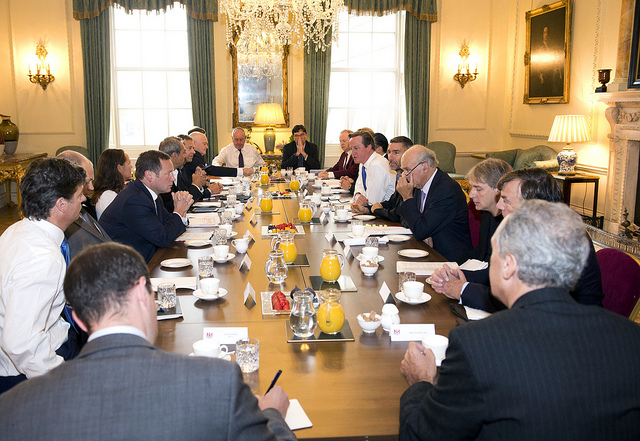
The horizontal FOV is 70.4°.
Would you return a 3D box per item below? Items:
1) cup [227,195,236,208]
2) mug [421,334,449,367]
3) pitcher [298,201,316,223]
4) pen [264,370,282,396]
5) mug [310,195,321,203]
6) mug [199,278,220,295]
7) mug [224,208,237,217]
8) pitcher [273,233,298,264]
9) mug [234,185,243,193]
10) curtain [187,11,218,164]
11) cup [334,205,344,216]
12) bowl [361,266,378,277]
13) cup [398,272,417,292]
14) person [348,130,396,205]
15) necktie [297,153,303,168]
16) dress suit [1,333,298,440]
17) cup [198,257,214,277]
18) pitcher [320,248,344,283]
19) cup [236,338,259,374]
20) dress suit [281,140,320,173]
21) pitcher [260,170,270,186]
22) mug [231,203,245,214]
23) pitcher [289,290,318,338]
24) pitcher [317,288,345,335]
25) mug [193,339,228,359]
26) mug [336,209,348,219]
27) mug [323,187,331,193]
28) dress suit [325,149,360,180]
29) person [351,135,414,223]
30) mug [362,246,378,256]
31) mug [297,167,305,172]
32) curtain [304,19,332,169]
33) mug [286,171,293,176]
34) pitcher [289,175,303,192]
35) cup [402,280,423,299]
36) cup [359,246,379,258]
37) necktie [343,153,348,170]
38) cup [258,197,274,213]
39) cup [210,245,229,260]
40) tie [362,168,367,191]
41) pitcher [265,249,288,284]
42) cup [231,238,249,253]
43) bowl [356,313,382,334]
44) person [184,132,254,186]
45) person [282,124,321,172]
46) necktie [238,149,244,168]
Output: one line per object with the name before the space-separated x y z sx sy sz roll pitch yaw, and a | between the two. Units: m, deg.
cup | -0.829 -0.190 4.314 0.093 0.120 0.099 0 3 0
mug | 0.469 0.509 1.857 0.109 0.104 0.130 0 13 0
pitcher | -0.121 -0.080 3.968 0.167 0.187 0.130 1 2 -5
pen | -0.173 0.595 1.666 0.026 0.100 0.013 28 5 -34
mug | -0.044 -0.230 4.730 0.076 0.062 0.076 -2 11 -3
mug | -0.576 0.338 2.355 0.092 0.085 0.087 -6 13 -14
mug | -0.816 -0.081 4.132 0.097 0.089 0.107 0 -2 -4
pitcher | -0.181 0.176 2.858 0.179 0.196 0.132 6 11 32
mug | -0.961 -0.373 5.340 0.078 0.069 0.083 0 0 -15
curtain | -2.066 -2.328 8.104 0.500 2.528 0.231 -5 12 -13
cup | 0.188 -0.102 4.403 0.096 0.082 0.102 0 1 0
bowl | 0.292 0.297 2.663 0.058 0.037 0.063 0 6 0
cup | 0.468 0.330 2.457 0.088 0.115 0.099 0 2 0
person | 0.584 -0.590 5.102 0.495 0.849 0.484 7 18 39
necktie | -0.326 -1.018 7.580 0.083 0.216 0.042 -3 12 -5
dress suit | -0.477 0.486 1.190 0.683 0.350 0.172 -3 12 1
cup | -0.663 0.265 2.610 0.083 0.108 0.095 0 -5 -8
pitcher | 0.078 0.250 2.551 0.149 0.188 0.098 -11 15 -33
cup | -0.301 0.537 1.823 0.106 0.136 0.131 0 -8 9
dress suit | -0.331 -1.061 7.580 0.669 0.334 0.719 1 -4 -3
pitcher | -0.729 -0.559 5.941 0.096 0.187 0.179 -3 13 -2
mug | -0.764 -0.109 4.220 0.086 0.070 0.084 0 -1 -6
pitcher | -0.064 0.436 2.036 0.132 0.217 0.145 -3 -3 13
pitcher | 0.044 0.420 2.010 0.112 0.188 0.185 1 7 8
mug | -0.450 0.496 1.793 0.091 0.048 0.078 4 4 -7
mug | 0.219 -0.063 3.995 0.070 0.082 0.152 8 17 40
mug | 0.081 -0.349 5.138 0.061 0.054 0.066 -1 12 4
dress suit | 0.289 -0.826 6.882 0.676 0.342 0.515 -20 22 -27
person | 0.773 -0.419 4.585 0.323 0.929 0.650 20 12 -4
mug | 0.332 0.196 2.895 0.115 0.055 0.056 -12 15 -34
mug | -0.286 -0.757 6.696 0.126 0.060 0.128 -5 6 -35
curtain | -0.035 -2.338 8.151 0.388 2.955 0.222 -1 12 -9
mug | -0.438 -0.680 6.479 0.074 0.065 0.083 1 2 -5
pitcher | -0.319 -0.461 5.552 0.189 0.214 0.139 2 0 -11
cup | 0.484 0.354 2.335 0.074 0.067 0.088 0 1 0
cup | 0.325 0.195 2.916 0.077 0.069 0.077 -4 13 1
necktie | 0.404 -0.930 7.025 0.037 0.298 0.039 22 -13 -38
cup | -0.513 -0.153 4.320 0.158 0.175 0.129 -2 10 -6
cup | -0.641 0.198 2.931 0.084 0.073 0.096 2 11 13
tie | 0.508 -0.473 5.159 0.029 0.235 0.023 -2 4 12
pitcher | -0.235 0.275 2.598 0.135 0.212 0.158 -4 5 5
cup | -0.544 0.173 3.072 0.102 0.083 0.073 -3 7 -9
bowl | 0.226 0.457 2.064 0.087 0.067 0.094 -1 2 0
person | -1.506 -0.946 6.601 0.833 0.948 0.627 -8 20 -17
person | -0.321 -1.035 7.814 0.552 1.191 0.574 -3 15 -7
necktie | -1.294 -1.020 7.395 0.059 0.280 0.095 0 12 9
